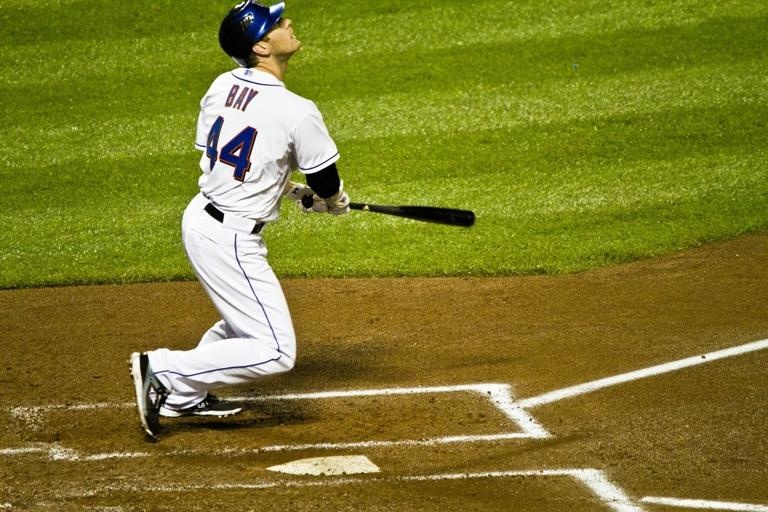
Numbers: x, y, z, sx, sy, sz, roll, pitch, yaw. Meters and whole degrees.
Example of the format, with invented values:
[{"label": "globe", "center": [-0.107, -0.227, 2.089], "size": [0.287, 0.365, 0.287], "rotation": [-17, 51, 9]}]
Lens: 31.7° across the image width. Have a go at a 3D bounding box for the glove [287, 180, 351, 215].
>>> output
[{"label": "glove", "center": [-0.604, -0.535, 12.531], "size": [0.483, 0.137, 0.326], "rotation": [15, -12, 13]}]
